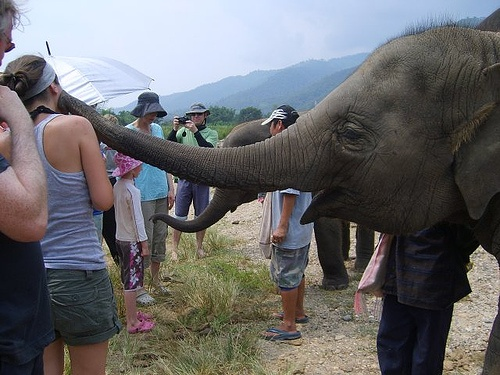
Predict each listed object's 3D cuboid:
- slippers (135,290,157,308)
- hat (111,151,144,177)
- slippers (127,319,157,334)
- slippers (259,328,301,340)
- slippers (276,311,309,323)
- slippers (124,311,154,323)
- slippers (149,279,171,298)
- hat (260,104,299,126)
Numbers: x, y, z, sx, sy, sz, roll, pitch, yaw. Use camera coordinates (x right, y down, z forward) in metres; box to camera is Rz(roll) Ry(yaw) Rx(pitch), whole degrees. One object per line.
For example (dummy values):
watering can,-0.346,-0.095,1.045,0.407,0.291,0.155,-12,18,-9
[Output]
slippers,-1.146,1.228,4.724,0.250,0.111,0.104,6,10,31
hat,-1.014,-0.188,3.572,0.211,0.111,0.199,-42,10,-36
slippers,-1.031,1.318,4.075,0.193,0.080,0.101,-4,0,-19
slippers,0.290,1.359,3.954,0.250,0.083,0.135,3,-9,6
slippers,0.430,1.315,4.347,0.350,0.141,0.131,3,3,9
slippers,-1.094,1.312,4.283,0.246,0.104,0.088,13,10,-30
slippers,-1.061,1.170,5.022,0.315,0.140,0.126,8,10,28
hat,0.266,-0.617,3.761,0.287,0.164,0.202,4,8,7
